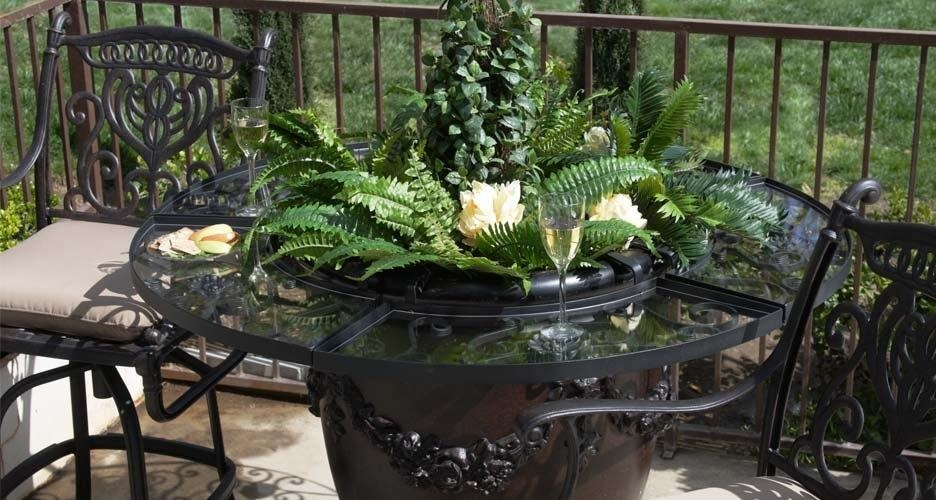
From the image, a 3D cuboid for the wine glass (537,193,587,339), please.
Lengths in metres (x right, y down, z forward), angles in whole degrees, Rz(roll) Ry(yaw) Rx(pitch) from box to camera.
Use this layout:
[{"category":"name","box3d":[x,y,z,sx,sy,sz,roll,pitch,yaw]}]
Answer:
[{"category":"wine glass","box3d":[0.279,0.049,2.197,0.154,0.414,0.171,0,12,-13]}]

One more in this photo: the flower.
[{"category":"flower","box3d":[0.087,-0.265,2.435,1.235,0.646,1.207,-14,28,-33]}]

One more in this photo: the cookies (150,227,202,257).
[{"category":"cookies","box3d":[-1.007,-0.024,2.524,0.110,0.033,0.108,2,29,-5]}]
